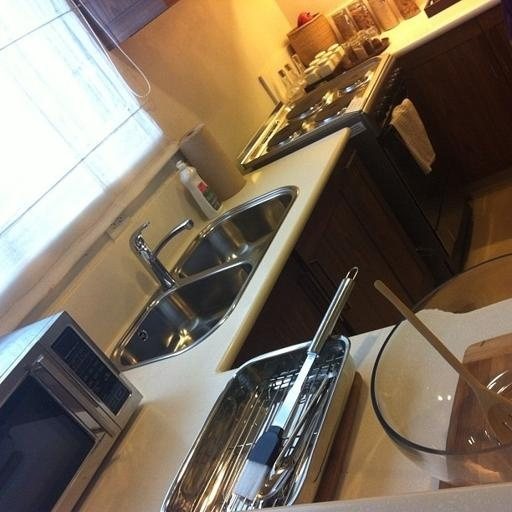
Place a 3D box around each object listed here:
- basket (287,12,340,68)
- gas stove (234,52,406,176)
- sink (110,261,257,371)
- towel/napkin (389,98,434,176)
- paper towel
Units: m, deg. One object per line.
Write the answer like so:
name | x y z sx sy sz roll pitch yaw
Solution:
basket | 0.352 -1.324 2.531 0.264 0.271 0.252 -20 42 27
gas stove | 0.318 -0.580 1.936 0.552 0.257 0.716 2 51 46
sink | -0.390 0.222 1.524 0.268 0.160 0.435 -5 -33 -44
towel/napkin | 0.670 -0.478 1.897 0.086 0.346 0.255 -11 28 42
paper towel | -0.199 -0.394 1.793 0.193 0.373 0.200 -33 22 5
